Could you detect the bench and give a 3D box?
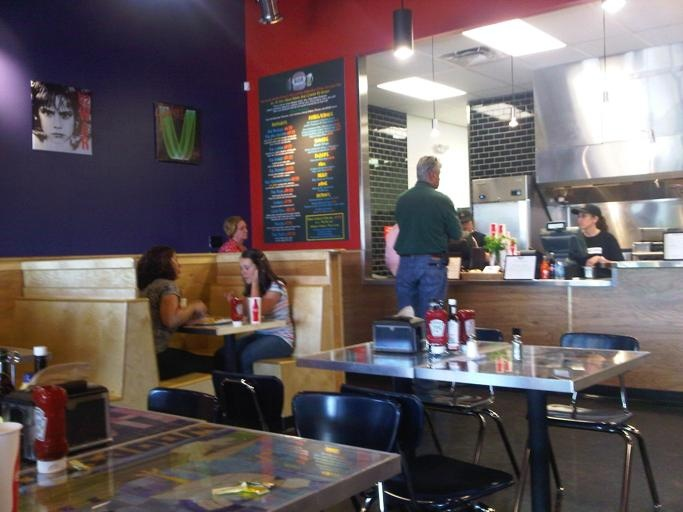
[{"bbox_3d":[-1.196,0.566,4.277,1.591,0.643,1.590,1,3,36],"label":"bench"}]

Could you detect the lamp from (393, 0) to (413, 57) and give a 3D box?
[{"bbox_3d":[0.545,-1.970,4.902,0.170,0.413,0.207,1,4,2],"label":"lamp"}]

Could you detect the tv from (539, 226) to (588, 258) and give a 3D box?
[{"bbox_3d":[2.425,-0.161,6.160,0.417,0.280,0.433,2,3,34],"label":"tv"}]

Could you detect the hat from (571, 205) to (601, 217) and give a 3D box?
[{"bbox_3d":[2.951,-0.541,6.644,0.391,0.136,0.243,4,-4,-5],"label":"hat"}]

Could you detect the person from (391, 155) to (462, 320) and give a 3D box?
[{"bbox_3d":[0.700,-0.040,4.530,0.545,1.114,0.300,1,4,14],"label":"person"}]

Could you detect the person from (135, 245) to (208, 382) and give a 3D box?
[{"bbox_3d":[-1.312,0.436,4.417,0.610,0.991,0.593,-1,1,-33],"label":"person"}]

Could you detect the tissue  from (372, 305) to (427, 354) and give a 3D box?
[{"bbox_3d":[0.305,0.407,2.857,0.248,0.165,0.240,-1,-1,21],"label":"tissue "}]

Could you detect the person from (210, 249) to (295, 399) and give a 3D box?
[{"bbox_3d":[-0.646,0.572,4.555,0.665,1.212,0.445,-6,1,-9],"label":"person"}]

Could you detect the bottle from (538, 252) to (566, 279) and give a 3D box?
[{"bbox_3d":[1.961,0.099,5.039,0.278,0.267,0.168,0,-4,29],"label":"bottle"}]
